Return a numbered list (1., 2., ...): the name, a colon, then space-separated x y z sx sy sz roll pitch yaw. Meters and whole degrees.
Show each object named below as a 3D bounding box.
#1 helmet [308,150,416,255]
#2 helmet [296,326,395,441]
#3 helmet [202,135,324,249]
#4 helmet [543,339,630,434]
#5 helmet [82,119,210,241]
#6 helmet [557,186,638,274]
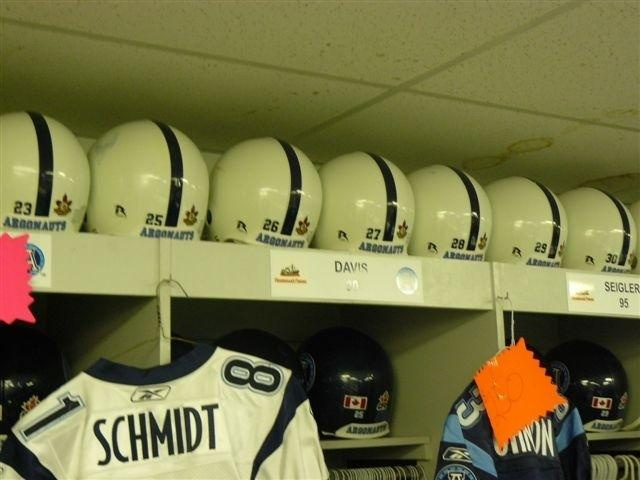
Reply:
1. helmet: 0.129 -0.094 1.745 0.280 0.388 0.370 0 8 -14
2. helmet: 0.088 0.404 1.833 0.288 0.341 0.382 1 -10 -17
3. helmet: -0.171 -0.125 1.642 0.273 0.346 0.361 2 11 -32
4. helmet: 0.822 0.532 2.039 0.296 0.279 0.284 -14 -30 9
5. helmet: -0.437 -0.205 1.540 0.295 0.331 0.372 -5 27 -31
6. helmet: 0.899 -0.034 2.009 0.256 0.268 0.219 12 3 24
